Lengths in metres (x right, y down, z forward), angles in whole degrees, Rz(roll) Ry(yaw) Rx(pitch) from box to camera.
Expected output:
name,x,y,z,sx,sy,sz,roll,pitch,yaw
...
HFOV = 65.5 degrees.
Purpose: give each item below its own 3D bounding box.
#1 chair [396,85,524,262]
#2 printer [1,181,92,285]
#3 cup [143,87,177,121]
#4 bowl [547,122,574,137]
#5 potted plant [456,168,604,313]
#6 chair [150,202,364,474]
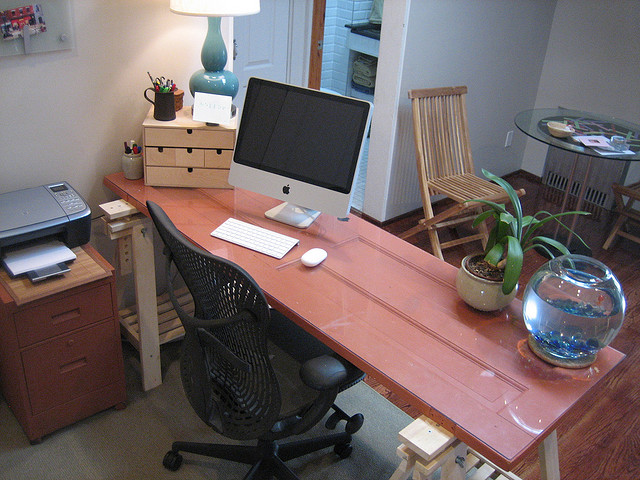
name,x,y,z,sx,sy,sz,roll,pitch,yaw
chair,1.043,-0.443,3.743,0.780,1.293,0.915,-9,27,-19
printer,-1.261,-0.040,2.267,0.409,0.272,0.429,-20,36,-31
cup,-0.798,-0.681,2.466,0.150,0.147,0.096,4,39,-12
bowl,1.708,-0.764,3.496,0.125,0.050,0.134,2,36,-2
potted plant,0.780,0.062,1.910,0.497,0.449,0.431,21,22,39
chair,-0.230,0.398,2.024,0.606,0.914,0.647,-27,50,-35
